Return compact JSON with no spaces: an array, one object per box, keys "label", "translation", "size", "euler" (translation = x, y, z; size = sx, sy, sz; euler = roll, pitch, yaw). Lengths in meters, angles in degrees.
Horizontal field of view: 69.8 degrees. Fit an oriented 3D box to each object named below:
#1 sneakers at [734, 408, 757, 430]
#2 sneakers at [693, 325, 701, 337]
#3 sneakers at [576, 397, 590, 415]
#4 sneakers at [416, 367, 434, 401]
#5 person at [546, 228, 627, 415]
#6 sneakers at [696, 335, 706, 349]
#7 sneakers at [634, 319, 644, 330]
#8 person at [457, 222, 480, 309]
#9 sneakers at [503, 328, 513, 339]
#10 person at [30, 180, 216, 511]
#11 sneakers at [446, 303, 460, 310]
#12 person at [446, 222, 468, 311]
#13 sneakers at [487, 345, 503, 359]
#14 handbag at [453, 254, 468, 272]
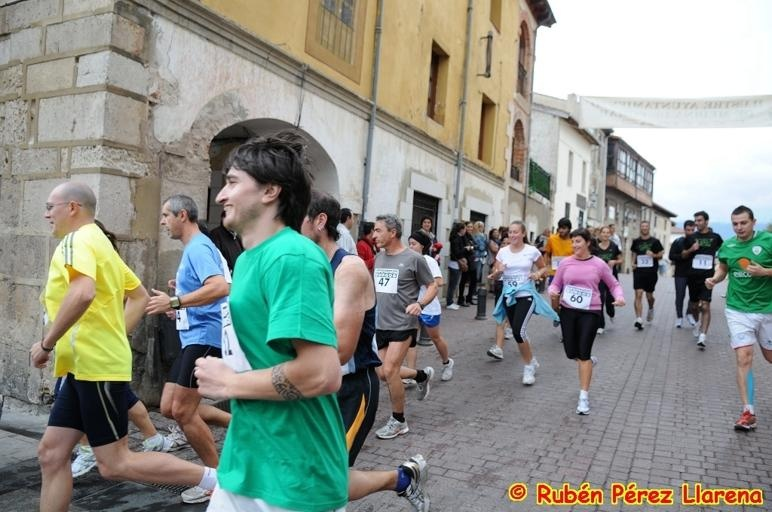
[{"label":"sneakers","translation":[4.348,1.975,6.666],"size":[0.422,0.200,0.145],"euler":[8,-13,-38]},{"label":"sneakers","translation":[6.490,1.573,11.547],"size":[0.121,0.154,0.367],"euler":[2,9,34]},{"label":"sneakers","translation":[2.510,1.898,7.004],"size":[0.207,0.179,0.116],"euler":[0,5,-12]},{"label":"sneakers","translation":[0.508,1.688,7.295],"size":[0.223,0.498,0.184],"euler":[3,26,-1]},{"label":"person","translation":[2.606,0.800,7.333],"size":[0.885,2.301,0.998],"euler":[3,6,16]},{"label":"sneakers","translation":[6.113,1.649,10.667],"size":[0.190,0.245,0.569],"euler":[-6,-17,29]},{"label":"sneakers","translation":[5.774,1.559,12.623],"size":[0.136,0.164,0.382],"euler":[-4,-20,27]},{"label":"person","translation":[2.192,0.176,14.844],"size":[0.630,0.817,2.273],"euler":[3,-29,10]},{"label":"sneakers","translation":[2.564,1.640,11.710],"size":[0.201,0.247,0.614],"euler":[-4,-12,14]},{"label":"person","translation":[-2.241,0.812,4.388],"size":[0.945,2.105,1.078],"euler":[-3,7,-37]},{"label":"sneakers","translation":[1.766,1.343,14.823],"size":[0.365,0.149,0.133],"euler":[-4,-4,37]},{"label":"person","translation":[1.841,0.184,14.669],"size":[0.824,2.769,1.016],"euler":[-1,34,5]},{"label":"sneakers","translation":[1.837,1.618,9.327],"size":[0.388,0.190,0.151],"euler":[21,-25,-37]},{"label":"handbag","translation":[1.948,0.194,14.272],"size":[0.351,0.345,0.266],"euler":[7,2,26]}]
